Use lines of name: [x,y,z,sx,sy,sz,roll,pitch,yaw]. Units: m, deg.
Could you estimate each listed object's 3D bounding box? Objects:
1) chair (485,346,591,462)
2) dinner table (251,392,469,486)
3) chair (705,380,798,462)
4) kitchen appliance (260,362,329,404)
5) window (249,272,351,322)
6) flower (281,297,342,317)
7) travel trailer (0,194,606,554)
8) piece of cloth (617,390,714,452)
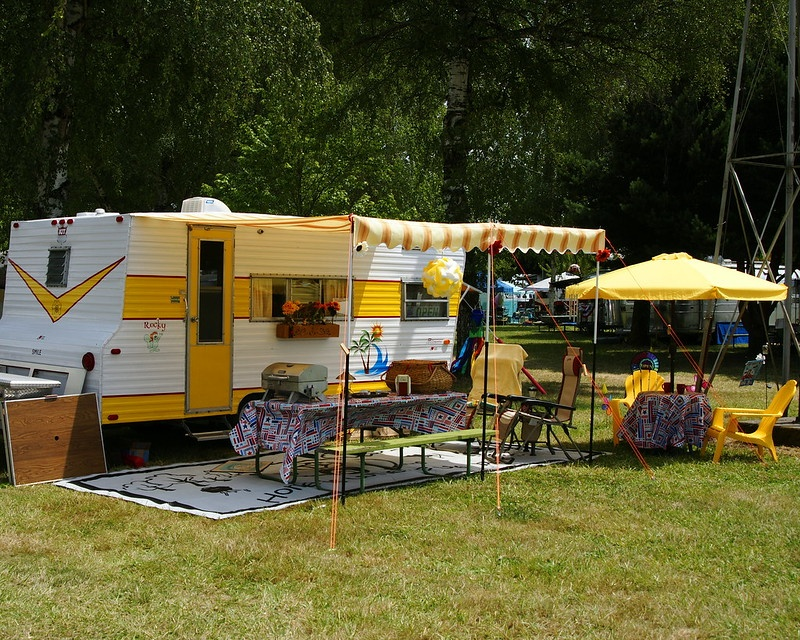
chair: [1.655,0.953,10.899,0.936,1.295,0.795,5,-1,-9]
dinner table: [-0.474,1.198,9.680,2.336,0.878,0.758,-4,9,-31]
chair: [4.054,1.161,10.966,1.020,1.055,0.912,1,-3,3]
kitchen appliance: [-1.074,0.642,9.419,0.650,0.412,0.370,6,9,34]
window: [-1.195,-0.264,11.329,1.309,0.593,0.054,-1,11,-27]
flower: [-1.074,-0.120,11.407,0.718,0.240,0.239,-6,11,-40]
travel trailer: [-1.641,0.164,11.413,4.855,2.187,3.862,-4,6,-42]
piece of cloth: [3.174,1.131,10.922,0.757,0.417,0.777,3,-3,-14]
